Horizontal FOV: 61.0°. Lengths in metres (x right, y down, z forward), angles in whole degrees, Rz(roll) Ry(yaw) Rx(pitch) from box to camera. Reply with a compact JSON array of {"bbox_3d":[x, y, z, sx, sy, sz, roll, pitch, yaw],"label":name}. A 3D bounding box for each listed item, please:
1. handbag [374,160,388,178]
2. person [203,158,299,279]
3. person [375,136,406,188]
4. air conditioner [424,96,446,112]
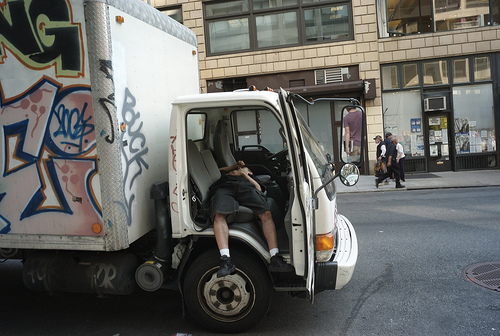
[{"bbox_3d":[4.769,0.021,15.269,0.518,0.414,0.302,-12,5,-12],"label":"handbag"},{"bbox_3d":[-0.079,0.594,6.519,0.994,0.791,2.912,-19,27,2],"label":"person"},{"bbox_3d":[5.087,-0.176,15.106,0.949,1.527,1.495,1,9,21],"label":"person"},{"bbox_3d":[7.914,-2.545,18.061,0.816,0.615,0.503,0,5,18],"label":"air conditioner"}]
